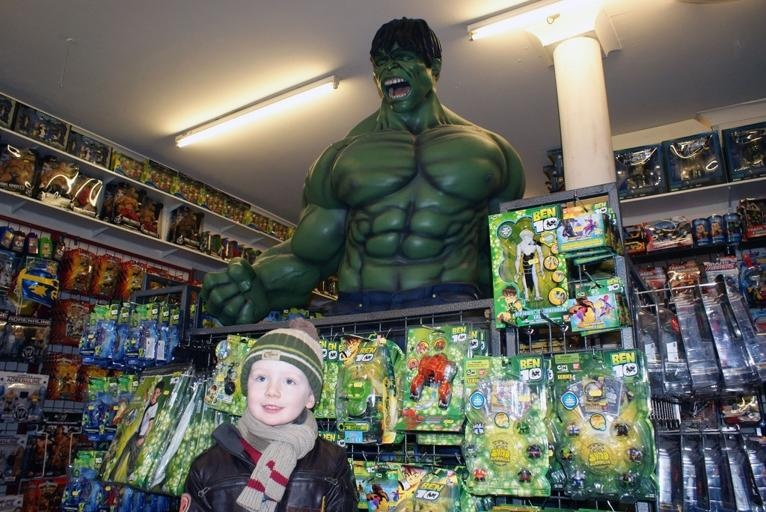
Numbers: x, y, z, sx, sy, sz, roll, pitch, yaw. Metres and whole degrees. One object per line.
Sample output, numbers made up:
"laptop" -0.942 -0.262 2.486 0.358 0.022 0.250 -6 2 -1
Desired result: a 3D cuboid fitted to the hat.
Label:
"hat" -0.391 0.428 2.213 0.291 0.349 0.374 -3 -16 13
